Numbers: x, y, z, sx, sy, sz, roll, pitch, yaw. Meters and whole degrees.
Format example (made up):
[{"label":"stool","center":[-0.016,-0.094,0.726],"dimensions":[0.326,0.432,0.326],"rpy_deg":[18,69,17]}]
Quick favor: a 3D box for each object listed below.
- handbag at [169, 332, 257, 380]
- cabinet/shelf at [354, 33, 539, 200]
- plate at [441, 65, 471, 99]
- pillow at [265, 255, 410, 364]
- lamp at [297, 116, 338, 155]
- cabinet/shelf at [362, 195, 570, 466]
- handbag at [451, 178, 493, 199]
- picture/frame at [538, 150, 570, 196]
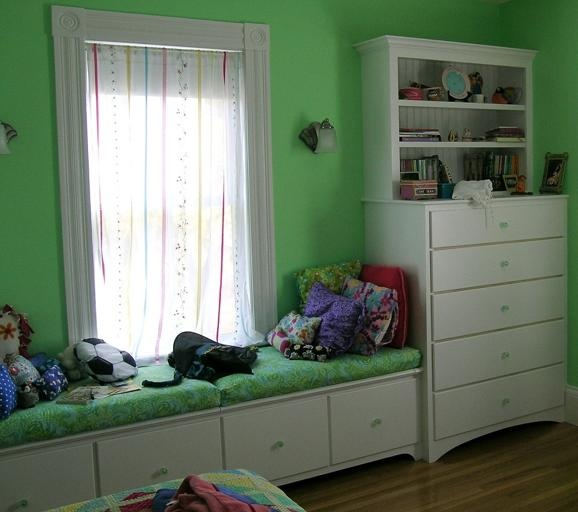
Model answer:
[{"label":"handbag","center":[-0.455,0.521,2.947],"dimensions":[0.304,0.137,0.249],"rpy_deg":[6,7,43]},{"label":"cabinet/shelf","center":[1.042,-0.939,3.609],"dimensions":[1.123,1.100,0.335],"rpy_deg":[-4,5,-29]},{"label":"plate","center":[1.141,-1.195,3.668],"dimensions":[0.256,0.269,0.020],"rpy_deg":[-9,-5,-41]},{"label":"pillow","center":[0.305,0.340,3.323],"dimensions":[0.864,0.501,0.583],"rpy_deg":[-7,13,-15]},{"label":"lamp","center":[0.186,-0.778,3.462],"dimensions":[0.214,0.237,0.239],"rpy_deg":[-23,53,-42]},{"label":"cabinet/shelf","center":[1.075,0.467,3.334],"dimensions":[1.503,2.046,0.758],"rpy_deg":[-2,1,-29]},{"label":"handbag","center":[1.131,-0.419,3.344],"dimensions":[0.306,0.105,0.177],"rpy_deg":[-9,14,-23]},{"label":"picture/frame","center":[1.855,-0.580,3.702],"dimensions":[0.053,0.400,0.303],"rpy_deg":[4,4,-20]}]
